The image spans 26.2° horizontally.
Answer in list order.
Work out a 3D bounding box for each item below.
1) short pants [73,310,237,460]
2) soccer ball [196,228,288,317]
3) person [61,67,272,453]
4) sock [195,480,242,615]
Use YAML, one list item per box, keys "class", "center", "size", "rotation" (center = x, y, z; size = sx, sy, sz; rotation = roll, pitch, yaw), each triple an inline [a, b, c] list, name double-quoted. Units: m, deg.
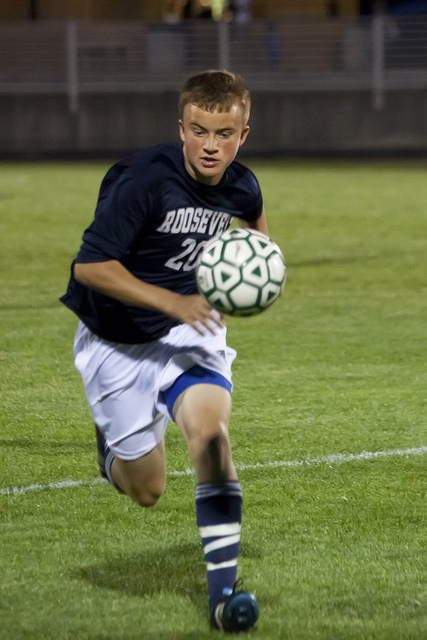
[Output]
- class: "short pants"
  center: [-0.202, 0.232, 2.798]
  size: [0.529, 0.440, 0.347]
  rotation: [1, 11, 5]
- class: "soccer ball"
  center: [0.087, -0.135, 2.585]
  size: [0.248, 0.241, 0.258]
  rotation: [-9, 4, 1]
- class: "person"
  center: [-0.166, -0.104, 2.693]
  size: [0.634, 1.264, 0.911]
  rotation: [0, 11, 4]
- class: "sock"
  center: [0.014, 0.586, 2.307]
  size: [0.122, 0.349, 0.126]
  rotation: [0, -1, -36]
